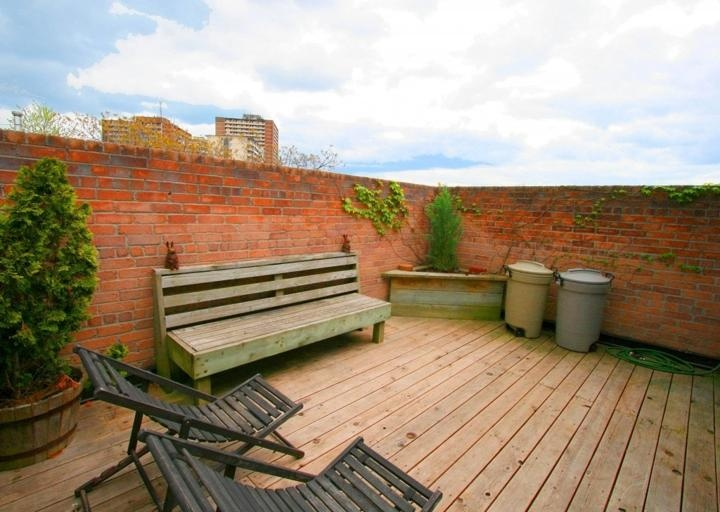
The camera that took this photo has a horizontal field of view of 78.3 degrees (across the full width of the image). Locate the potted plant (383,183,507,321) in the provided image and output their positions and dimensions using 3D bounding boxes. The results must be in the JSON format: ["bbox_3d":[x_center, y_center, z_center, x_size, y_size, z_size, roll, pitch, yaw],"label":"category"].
[{"bbox_3d":[1.436,-0.051,7.560,1.863,2.110,1.205,0,11,6],"label":"potted plant"}]
